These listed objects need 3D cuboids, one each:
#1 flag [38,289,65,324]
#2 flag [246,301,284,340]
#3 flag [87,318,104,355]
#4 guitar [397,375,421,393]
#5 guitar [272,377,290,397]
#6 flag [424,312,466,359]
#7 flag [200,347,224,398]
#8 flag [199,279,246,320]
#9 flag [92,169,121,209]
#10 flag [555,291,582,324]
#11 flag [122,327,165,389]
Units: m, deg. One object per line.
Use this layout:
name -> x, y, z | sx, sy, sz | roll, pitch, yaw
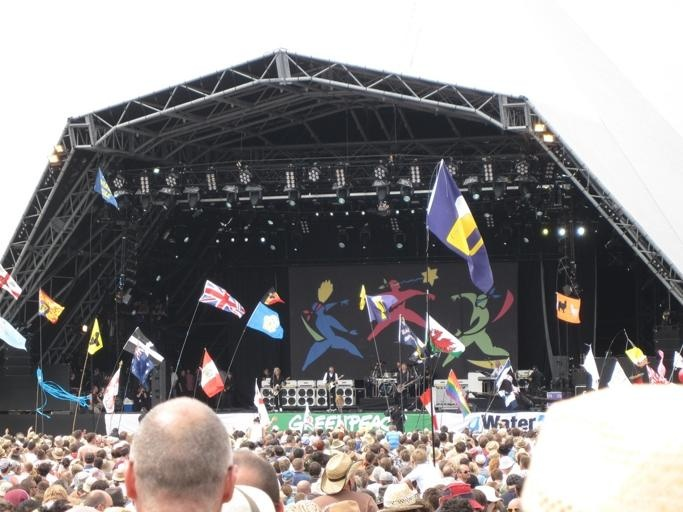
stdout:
flag -> -9.738, 1.498, 40.063 | 0.448, 1.142, 1.123 | -21, -28, -21
flag -> -2.305, 1.920, 36.511 | 0.762, 1.223, 1.270 | -16, -26, 38
flag -> -7.749, 2.487, 37.478 | 0.368, 0.810, 0.031 | 5, -6, -22
guitar -> 2.285, 4.465, 41.232 | 0.344, 0.483, 1.156 | -4, 4, 41
guitar -> -2.239, 4.748, 43.446 | 0.490, 0.704, 0.243 | 6, -16, -9
flag -> 2.917, 2.458, 35.544 | 1.005, 2.268, 1.644 | -4, -4, -2
flag -> -3.924, 3.447, 35.538 | 0.659, 1.669, 0.157 | -19, -24, -8
flag -> -3.637, 1.470, 37.160 | 1.309, 0.800, 0.392 | 32, -46, 0
flag -> -7.542, -2.214, 38.442 | 0.063, 1.050, 1.188 | -29, -38, -47
flag -> 8.090, 1.793, 42.144 | 0.056, 1.061, 1.353 | 6, -4, -30
flag -> -6.965, 3.626, 41.479 | 1.750, 0.449, 3.370 | -42, -14, -10
